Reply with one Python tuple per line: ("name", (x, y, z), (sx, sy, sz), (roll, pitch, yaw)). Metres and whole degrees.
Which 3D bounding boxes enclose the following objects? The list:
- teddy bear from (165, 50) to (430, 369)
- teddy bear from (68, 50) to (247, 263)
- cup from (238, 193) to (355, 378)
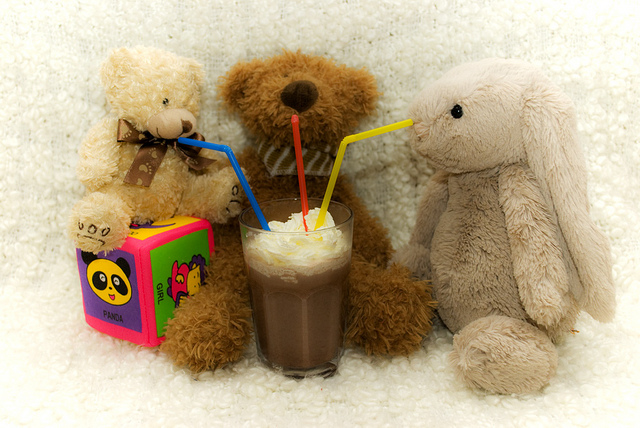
("teddy bear", (-0.051, -0.013, 1.729), (0.794, 0.888, 0.714), (-1, 19, -1))
("teddy bear", (-0.414, -0.171, 1.610), (0.466, 0.441, 0.288), (-7, 30, -31))
("cup", (-0.051, 0.157, 1.476), (0.272, 0.366, 0.298), (4, 38, -3))
